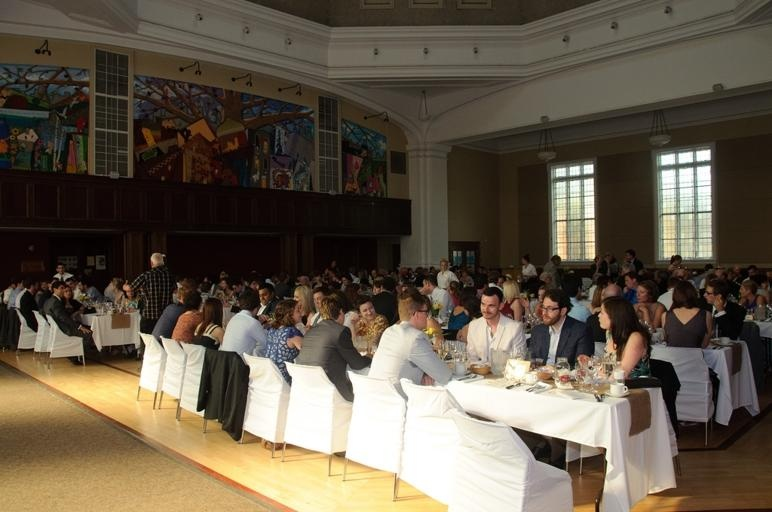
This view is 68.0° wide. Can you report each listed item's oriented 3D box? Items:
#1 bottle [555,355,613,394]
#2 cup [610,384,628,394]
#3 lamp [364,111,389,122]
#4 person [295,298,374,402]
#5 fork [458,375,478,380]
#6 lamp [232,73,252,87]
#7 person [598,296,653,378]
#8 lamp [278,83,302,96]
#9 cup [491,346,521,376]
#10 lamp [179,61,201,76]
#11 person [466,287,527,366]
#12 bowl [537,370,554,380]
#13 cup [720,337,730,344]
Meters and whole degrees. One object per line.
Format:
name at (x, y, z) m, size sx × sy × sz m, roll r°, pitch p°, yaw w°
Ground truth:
bottle at (2.200, 1.281, 6.286) m, size 0.375 × 0.224 × 0.506 m, roll 2°, pitch -6°, yaw -14°
cup at (2.468, 1.404, 6.060) m, size 0.133 × 0.091 × 0.102 m, roll -2°, pitch -3°, yaw 37°
lamp at (-0.234, -4.824, 19.928) m, size 0.905 × 0.280 × 0.546 m, roll -10°, pitch 14°, yaw -39°
person at (-0.614, 1.139, 6.966) m, size 0.865 × 1.223 × 0.535 m, roll -3°, pitch 11°, yaw -10°
fork at (0.976, 1.426, 6.708) m, size 0.075 × 0.027 × 0.304 m, roll 10°, pitch 4°, yaw 38°
lamp at (-4.219, -5.192, 16.934) m, size 0.675 × 0.408 × 0.243 m, roll -3°, pitch 4°, yaw -3°
person at (2.758, 0.955, 6.575) m, size 0.615 × 0.873 × 0.510 m, roll 9°, pitch 14°, yaw 41°
lamp at (-2.977, -5.141, 17.791) m, size 0.681 × 0.372 × 0.283 m, roll -5°, pitch 10°, yaw -34°
cup at (1.443, 1.246, 6.847) m, size 0.315 × 0.253 × 0.327 m, roll -1°, pitch -4°, yaw 0°
lamp at (-5.536, -5.237, 16.001) m, size 0.709 × 0.439 × 0.225 m, roll 2°, pitch 6°, yaw 11°
person at (1.409, 1.008, 7.504) m, size 0.777 × 1.165 × 0.691 m, roll -1°, pitch 2°, yaw 30°
bowl at (1.838, 1.367, 6.555) m, size 0.199 × 0.114 × 0.089 m, roll -3°, pitch 11°, yaw -12°
cup at (4.941, 1.231, 8.307) m, size 0.093 × 0.081 × 0.117 m, roll 1°, pitch -8°, yaw -6°
